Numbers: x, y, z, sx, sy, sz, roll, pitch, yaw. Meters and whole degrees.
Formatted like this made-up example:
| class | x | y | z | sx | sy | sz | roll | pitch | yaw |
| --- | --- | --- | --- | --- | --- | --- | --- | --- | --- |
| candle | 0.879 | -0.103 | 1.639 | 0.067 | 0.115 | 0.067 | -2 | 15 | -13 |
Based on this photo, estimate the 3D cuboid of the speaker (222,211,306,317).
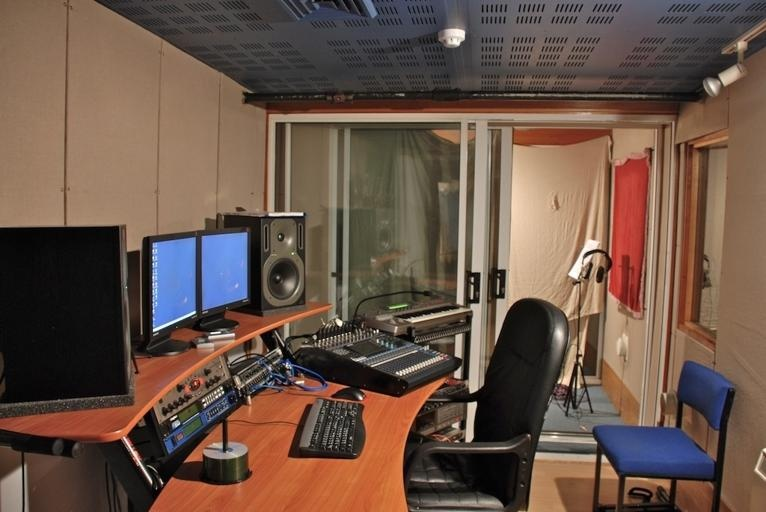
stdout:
| class | x | y | z | sx | sy | sz | roll | pitch | yaw |
| --- | --- | --- | --- | --- | --- | --- | --- | --- | --- |
| speaker | -0.736 | 0.027 | 3.414 | 0.421 | 0.579 | 0.441 | -3 | 8 | -38 |

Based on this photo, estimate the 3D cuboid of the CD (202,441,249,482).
| class | x | y | z | sx | sy | sz | roll | pitch | yaw |
| --- | --- | --- | --- | --- | --- | --- | --- | --- | --- |
| CD | -0.645 | 0.856 | 2.322 | 0.165 | 0.084 | 0.165 | 1 | 5 | 1 |

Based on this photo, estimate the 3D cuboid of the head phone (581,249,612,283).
| class | x | y | z | sx | sy | sz | roll | pitch | yaw |
| --- | --- | --- | --- | --- | --- | --- | --- | --- | --- |
| head phone | 1.974 | 0.087 | 5.119 | 0.282 | 0.344 | 0.122 | 7 | 6 | 23 |

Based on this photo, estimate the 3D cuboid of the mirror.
| class | x | y | z | sx | sy | sz | roll | pitch | yaw |
| --- | --- | --- | --- | --- | --- | --- | --- | --- | --- |
| mirror | 2.247 | -0.111 | 3.869 | 0.234 | 1.398 | 0.405 | -1 | 3 | 7 |

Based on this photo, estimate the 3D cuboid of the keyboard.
| class | x | y | z | sx | sy | sz | roll | pitch | yaw |
| --- | --- | --- | --- | --- | --- | --- | --- | --- | --- |
| keyboard | -0.213 | 0.815 | 2.633 | 0.300 | 0.059 | 0.469 | 4 | 14 | -5 |

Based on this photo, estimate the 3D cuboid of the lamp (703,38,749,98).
| class | x | y | z | sx | sy | sz | roll | pitch | yaw |
| --- | --- | --- | --- | --- | --- | --- | --- | --- | --- |
| lamp | 2.003 | -1.076 | 3.203 | 0.114 | 0.259 | 0.240 | -14 | 15 | -25 |

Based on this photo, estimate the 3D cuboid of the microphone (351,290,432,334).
| class | x | y | z | sx | sy | sz | roll | pitch | yaw |
| --- | --- | --- | --- | --- | --- | --- | --- | --- | --- |
| microphone | 0.083 | 0.432 | 4.276 | 0.440 | 0.159 | 0.291 | -4 | 4 | -6 |
